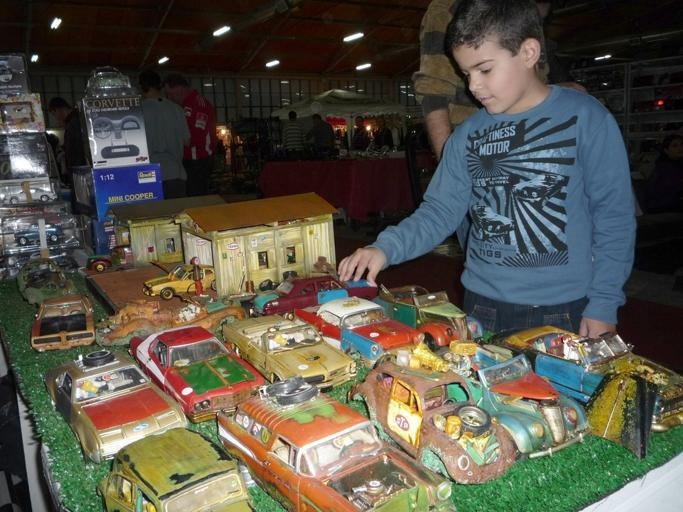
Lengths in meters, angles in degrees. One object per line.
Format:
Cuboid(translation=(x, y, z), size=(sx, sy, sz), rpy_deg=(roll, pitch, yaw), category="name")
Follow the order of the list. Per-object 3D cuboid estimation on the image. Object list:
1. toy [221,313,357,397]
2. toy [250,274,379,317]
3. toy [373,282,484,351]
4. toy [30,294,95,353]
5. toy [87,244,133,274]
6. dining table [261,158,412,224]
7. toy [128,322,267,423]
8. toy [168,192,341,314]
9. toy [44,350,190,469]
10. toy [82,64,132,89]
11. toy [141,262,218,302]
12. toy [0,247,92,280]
Cuboid(translation=(-0.389, 0.630, 3.206), size=(0.436, 0.228, 0.792), rpy_deg=(-14, 26, -35), category="toy")
Cuboid(translation=(-0.218, 0.300, 4.198), size=(1.107, 0.267, 0.411), rpy_deg=(-9, 18, -21), category="toy")
Cuboid(translation=(0.690, 0.442, 3.583), size=(0.363, 0.202, 0.666), rpy_deg=(-11, 19, -32), category="toy")
Cuboid(translation=(-2.229, 0.497, 3.685), size=(0.378, 0.176, 0.614), rpy_deg=(-8, 18, -27), category="toy")
Cuboid(translation=(-2.726, 0.031, 5.455), size=(0.609, 0.207, 0.295), rpy_deg=(-2, 6, -23), category="toy")
Cuboid(translation=(-0.122, -1.681, 11.059), size=(2.539, 0.761, 2.270), rpy_deg=(-8, 14, -26), category="dining table")
Cuboid(translation=(-0.957, 0.691, 2.950), size=(0.445, 0.223, 0.874), rpy_deg=(-19, 28, -39), category="toy")
Cuboid(translation=(-0.939, -0.264, 4.783), size=(1.662, 0.791, 1.105), rpy_deg=(-11, 20, -28), category="toy")
Cuboid(translation=(-1.358, 0.776, 2.682), size=(0.464, 0.271, 0.891), rpy_deg=(-19, 29, -40), category="toy")
Cuboid(translation=(-3.201, -2.374, 6.235), size=(0.730, 0.242, 0.918), rpy_deg=(-10, 22, -27), category="toy")
Cuboid(translation=(-1.572, 0.240, 4.420), size=(0.677, 0.176, 0.328), rpy_deg=(-8, 19, -22), category="toy")
Cuboid(translation=(-4.035, 0.053, 6.259), size=(1.049, 0.211, 0.645), rpy_deg=(-4, 8, -19), category="toy")
